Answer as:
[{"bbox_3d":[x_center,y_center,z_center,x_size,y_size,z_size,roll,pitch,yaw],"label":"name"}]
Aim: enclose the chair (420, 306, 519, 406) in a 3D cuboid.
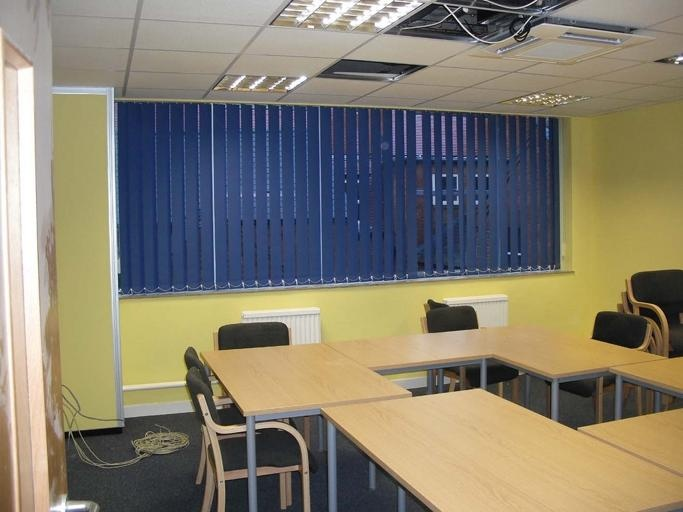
[{"bbox_3d":[1.076,0.846,4.654,0.628,0.816,0.681,-5,2,-32],"label":"chair"}]
